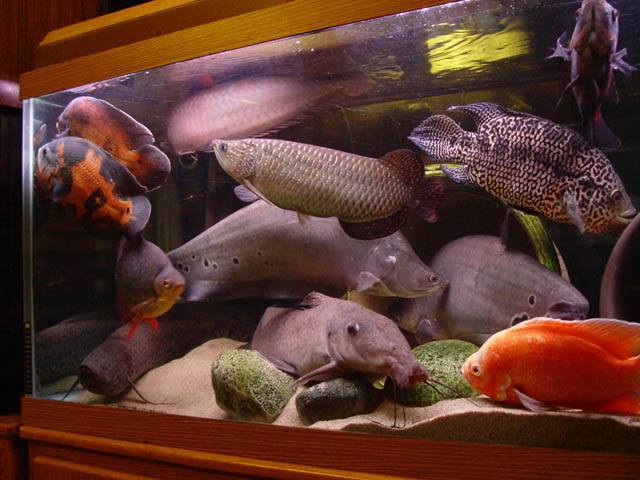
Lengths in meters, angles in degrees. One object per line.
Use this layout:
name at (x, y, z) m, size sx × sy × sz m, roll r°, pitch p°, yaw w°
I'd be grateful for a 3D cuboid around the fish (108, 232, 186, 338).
fish at (-0.628, 0.146, 2.256) m, size 0.421 × 0.348 × 0.133 m, roll -5°, pitch 4°, yaw 33°

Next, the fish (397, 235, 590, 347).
fish at (0.485, 0.144, 1.915) m, size 0.583 × 0.361 × 0.208 m, roll -3°, pitch -2°, yaw 15°

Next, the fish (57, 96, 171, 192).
fish at (-0.731, -0.319, 2.257) m, size 0.467 × 0.275 × 0.110 m, roll 22°, pitch 14°, yaw 8°

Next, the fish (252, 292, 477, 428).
fish at (-0.003, 0.344, 2.117) m, size 0.830 × 0.298 × 0.348 m, roll 2°, pitch 67°, yaw 43°
